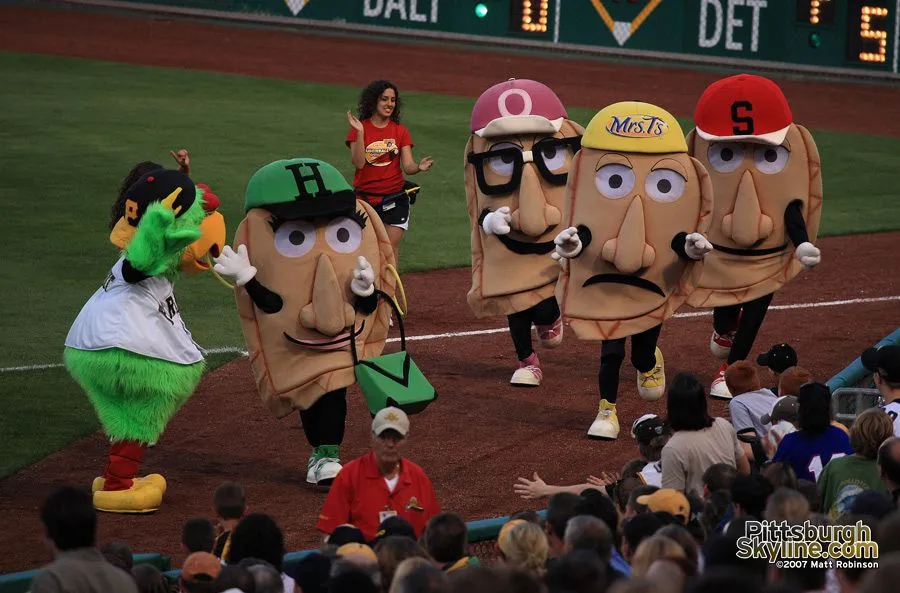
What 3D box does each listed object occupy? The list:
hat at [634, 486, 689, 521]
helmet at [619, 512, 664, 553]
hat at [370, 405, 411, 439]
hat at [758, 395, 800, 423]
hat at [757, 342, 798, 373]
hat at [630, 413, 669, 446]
[{"bbox_3d":[1.533,1.536,10.336,0.391,0.235,0.503,0,9,8],"label":"hat"},{"bbox_3d":[1.335,1.682,10.015,0.272,0.274,0.266,1,10,11],"label":"helmet"},{"bbox_3d":[-0.467,0.976,11.180,0.263,0.205,0.344,-1,9,2],"label":"hat"},{"bbox_3d":[2.767,0.947,11.808,0.270,0.233,0.193,7,13,39],"label":"hat"},{"bbox_3d":[2.929,0.547,12.951,0.348,0.179,0.256,21,37,35],"label":"hat"},{"bbox_3d":[1.618,1.084,11.568,0.291,0.238,0.233,0,10,8],"label":"hat"}]
